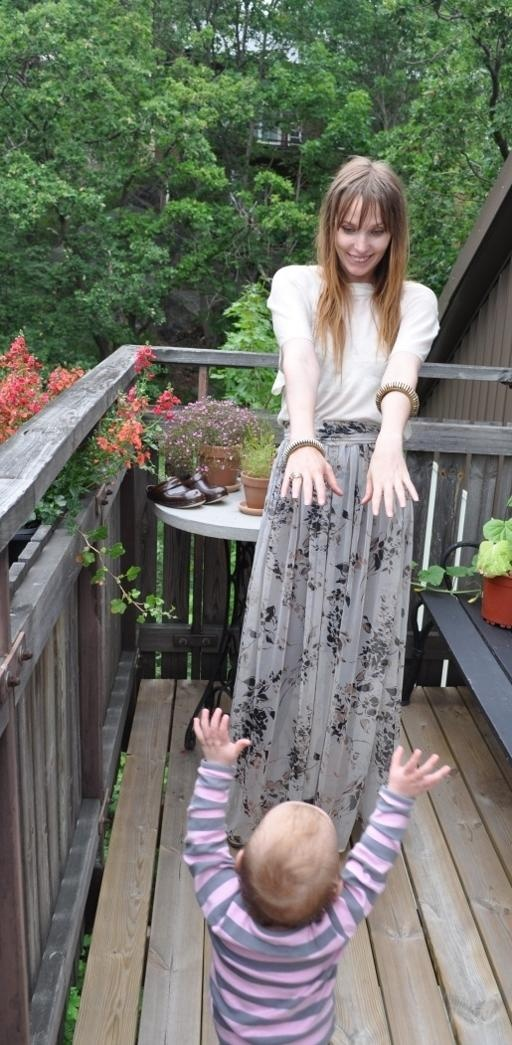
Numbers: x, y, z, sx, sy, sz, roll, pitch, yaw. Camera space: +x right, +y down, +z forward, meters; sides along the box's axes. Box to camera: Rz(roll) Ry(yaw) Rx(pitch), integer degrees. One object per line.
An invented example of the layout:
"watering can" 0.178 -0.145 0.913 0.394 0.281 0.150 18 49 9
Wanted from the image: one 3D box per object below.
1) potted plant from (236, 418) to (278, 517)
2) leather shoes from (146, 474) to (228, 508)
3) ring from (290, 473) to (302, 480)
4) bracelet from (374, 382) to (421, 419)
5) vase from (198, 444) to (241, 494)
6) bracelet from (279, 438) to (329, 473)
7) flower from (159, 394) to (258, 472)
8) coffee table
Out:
"potted plant" 0.003 -0.168 2.085 0.103 0.298 0.111 5 5 22
"leather shoes" -0.247 -0.102 2.127 0.168 0.077 0.133 7 17 31
"ring" 0.068 -0.078 1.111 0.018 0.015 0.027 3 11 -1
"bracelet" 0.314 -0.265 1.403 0.086 0.065 0.199 12 14 36
"vase" -0.118 -0.190 2.361 0.128 0.153 0.145 -2 2 -6
"bracelet" 0.086 -0.134 1.193 0.064 0.044 0.121 4 12 4
"flower" -0.190 -0.299 2.436 0.253 0.321 0.284 -1 1 -3
"coffee table" -0.057 0.363 2.407 0.480 0.746 0.483 0 2 -41
